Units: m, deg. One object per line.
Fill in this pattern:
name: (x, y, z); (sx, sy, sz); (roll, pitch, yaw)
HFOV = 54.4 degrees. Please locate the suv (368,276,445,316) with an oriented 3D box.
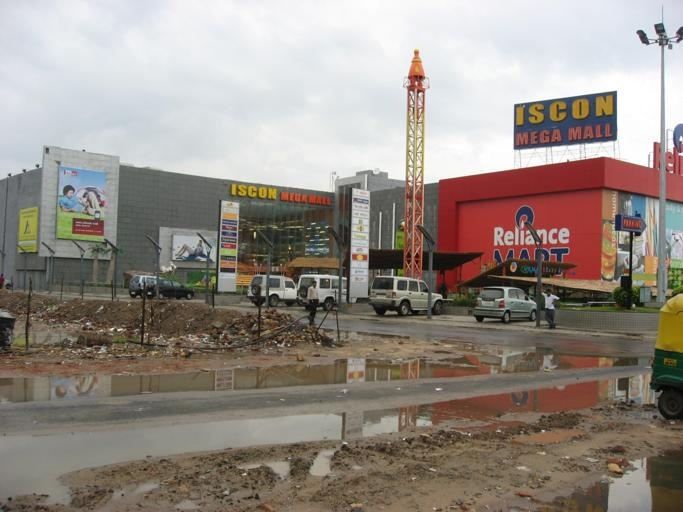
suv: (3.811, 2.330, 38.542); (4.729, 2.220, 2.218); (3, -2, -45)

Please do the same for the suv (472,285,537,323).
suv: (8.674, 2.505, 34.967); (2.203, 1.692, 3.970); (1, -1, 43)

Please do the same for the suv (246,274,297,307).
suv: (-4.429, 2.284, 41.697); (3.601, 1.731, 2.029); (-2, 2, -36)
